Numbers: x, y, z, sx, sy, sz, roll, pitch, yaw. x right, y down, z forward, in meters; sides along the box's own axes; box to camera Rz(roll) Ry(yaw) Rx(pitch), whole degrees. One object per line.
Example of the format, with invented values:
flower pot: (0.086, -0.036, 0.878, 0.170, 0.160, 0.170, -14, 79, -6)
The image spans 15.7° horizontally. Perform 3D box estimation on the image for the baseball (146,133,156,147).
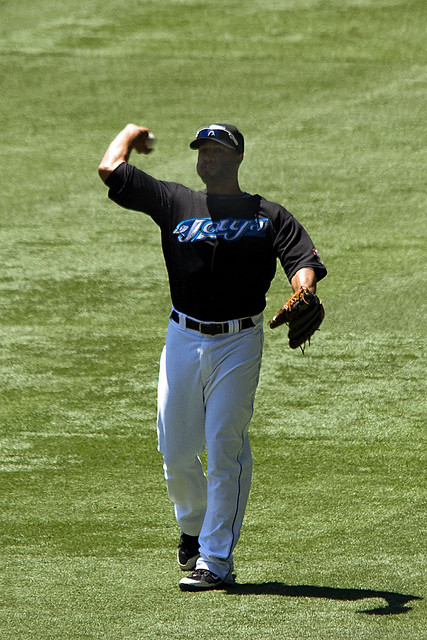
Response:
baseball: (-0.282, -0.795, 6.789, 0.045, 0.059, 0.107, 6, 30, -3)

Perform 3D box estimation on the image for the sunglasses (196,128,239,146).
sunglasses: (0.016, -0.791, 6.614, 0.185, 0.072, 0.067, 3, 8, -1)

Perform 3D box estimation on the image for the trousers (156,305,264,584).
trousers: (-0.035, 0.552, 6.595, 0.443, 1.171, 0.362, 2, 8, 1)

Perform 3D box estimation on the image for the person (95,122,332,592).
person: (-0.022, 0.164, 6.633, 0.990, 1.990, 0.463, 7, 9, 34)

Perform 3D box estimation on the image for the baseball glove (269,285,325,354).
baseball glove: (0.362, -0.018, 6.466, 0.218, 0.099, 0.313, -15, 3, 8)
